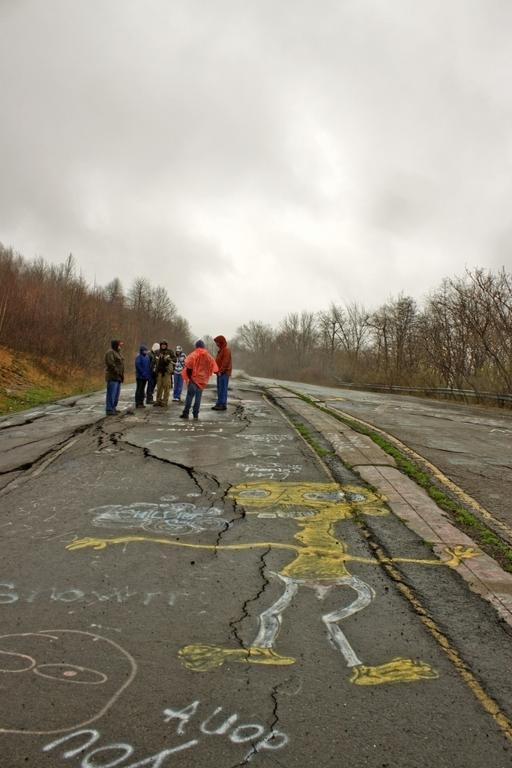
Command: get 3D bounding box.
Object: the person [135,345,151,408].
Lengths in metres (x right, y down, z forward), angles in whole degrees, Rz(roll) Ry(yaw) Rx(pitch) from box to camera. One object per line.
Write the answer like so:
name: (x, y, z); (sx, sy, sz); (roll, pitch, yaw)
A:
person: (-2.896, -0.144, 13.424); (0.347, 1.593, 1.417); (1, 4, -13)

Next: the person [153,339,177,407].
person: (-2.476, -0.266, 14.276); (0.520, 1.741, 1.507); (1, 4, -11)

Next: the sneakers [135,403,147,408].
sneakers: (-3.017, 0.581, 13.823); (0.246, 0.229, 0.114); (1, -2, -1)

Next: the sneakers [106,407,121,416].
sneakers: (-3.362, 0.670, 12.352); (0.263, 0.246, 0.128); (0, 3, -12)

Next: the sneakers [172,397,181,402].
sneakers: (-2.407, 0.481, 15.955); (0.136, 0.108, 0.217); (5, 11, -2)
